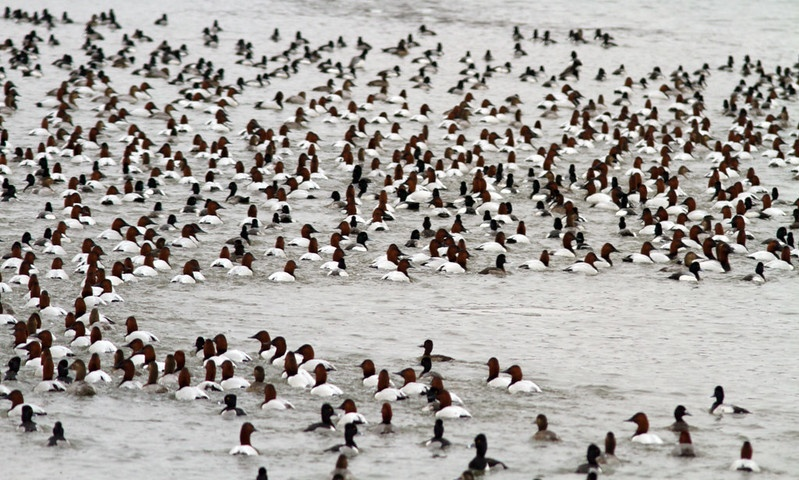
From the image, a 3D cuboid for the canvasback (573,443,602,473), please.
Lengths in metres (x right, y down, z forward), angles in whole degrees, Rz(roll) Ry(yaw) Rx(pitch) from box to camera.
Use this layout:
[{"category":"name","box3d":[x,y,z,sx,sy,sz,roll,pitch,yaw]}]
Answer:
[{"category":"canvasback","box3d":[4.186,4.799,22.542,0.470,0.631,0.644,7,11,21]}]

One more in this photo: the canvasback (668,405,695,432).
[{"category":"canvasback","box3d":[6.614,4.157,23.856,0.556,0.572,0.908,6,10,16]}]

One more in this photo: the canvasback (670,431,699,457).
[{"category":"canvasback","box3d":[6.424,4.643,23.096,0.370,0.250,0.720,-3,26,12]}]

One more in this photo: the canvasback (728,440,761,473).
[{"category":"canvasback","box3d":[7.665,4.862,22.633,0.576,0.518,0.799,4,32,13]}]

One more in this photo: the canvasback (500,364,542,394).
[{"category":"canvasback","box3d":[2.929,3.472,25.231,1.045,0.560,0.556,5,2,32]}]

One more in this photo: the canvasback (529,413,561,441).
[{"category":"canvasback","box3d":[3.355,4.269,23.499,0.523,0.459,0.742,-8,25,-19]}]

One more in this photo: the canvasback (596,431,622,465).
[{"category":"canvasback","box3d":[4.681,4.678,22.793,0.375,0.764,0.661,0,6,8]}]

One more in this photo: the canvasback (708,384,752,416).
[{"category":"canvasback","box3d":[7.836,3.935,24.734,1.168,0.647,0.551,8,-7,22]}]
